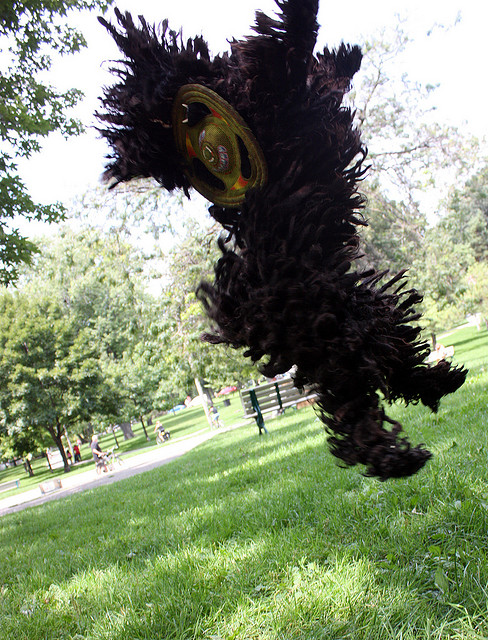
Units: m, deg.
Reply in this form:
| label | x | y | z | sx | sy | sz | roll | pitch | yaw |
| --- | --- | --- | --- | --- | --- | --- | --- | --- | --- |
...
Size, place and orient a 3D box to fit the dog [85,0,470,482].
| label | x | y | z | sx | sy | sz | roll | pitch | yaw |
| --- | --- | --- | --- | --- | --- | --- | --- | --- | --- |
| dog | 0.120 | -0.246 | 1.150 | 0.682 | 1.127 | 0.475 | -20 | -4 | -18 |

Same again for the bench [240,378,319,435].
| label | x | y | z | sx | sy | sz | roll | pitch | yaw |
| --- | --- | --- | --- | --- | --- | --- | --- | --- | --- |
| bench | 1.018 | 2.125 | 12.707 | 1.932 | 0.821 | 0.606 | -14 | 11 | -19 |

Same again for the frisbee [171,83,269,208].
| label | x | y | z | sx | sy | sz | roll | pitch | yaw |
| --- | --- | --- | --- | --- | --- | --- | --- | --- | --- |
| frisbee | -0.059 | -0.399 | 1.166 | 0.055 | 0.310 | 0.289 | -36 | -33 | -38 |
